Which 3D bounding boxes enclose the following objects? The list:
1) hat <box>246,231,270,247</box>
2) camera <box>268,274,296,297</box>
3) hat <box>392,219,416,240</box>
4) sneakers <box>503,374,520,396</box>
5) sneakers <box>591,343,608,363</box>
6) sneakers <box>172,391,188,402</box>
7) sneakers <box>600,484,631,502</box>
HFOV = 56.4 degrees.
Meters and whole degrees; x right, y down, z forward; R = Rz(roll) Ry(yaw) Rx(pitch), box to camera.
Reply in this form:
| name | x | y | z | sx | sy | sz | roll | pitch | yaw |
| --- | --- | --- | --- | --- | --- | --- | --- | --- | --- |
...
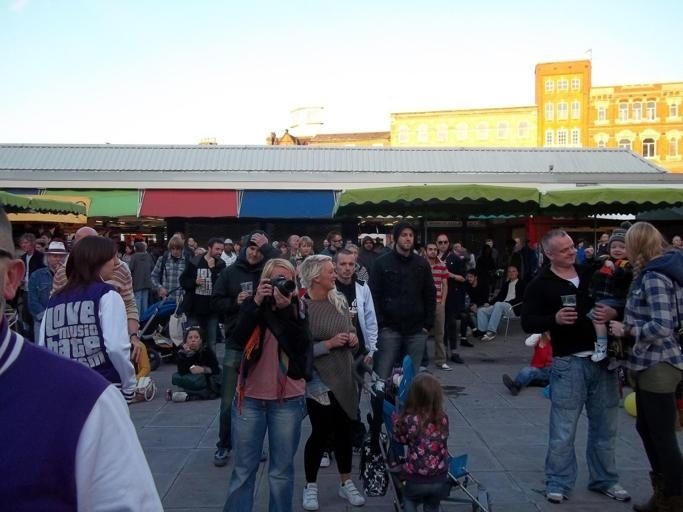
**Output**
| name | x | y | z | sx | sy | sz | roll | pitch | yaw |
| --- | --- | --- | --- | --- | --- | --- | --- | --- | --- |
| hat | -0.779 | -0.151 | 5.840 | 0.220 | 0.104 | 0.206 | -2 | 2 | 8 |
| camera | -0.382 | 0.187 | 4.183 | 0.122 | 0.077 | 0.128 | 3 | 5 | -20 |
| hat | 0.731 | -0.327 | 7.011 | 0.255 | 0.253 | 0.265 | 4 | -11 | -19 |
| sneakers | 2.234 | 1.707 | 8.406 | 0.094 | 0.219 | 0.155 | -35 | -17 | 13 |
| sneakers | 2.065 | 0.772 | 5.104 | 0.117 | 0.170 | 0.105 | -3 | 2 | -36 |
| sneakers | -2.035 | 1.780 | 8.069 | 0.216 | 0.115 | 0.162 | 2 | -18 | 39 |
| sneakers | 2.205 | 1.899 | 5.119 | 0.090 | 0.080 | 0.191 | 0 | 0 | -44 |
